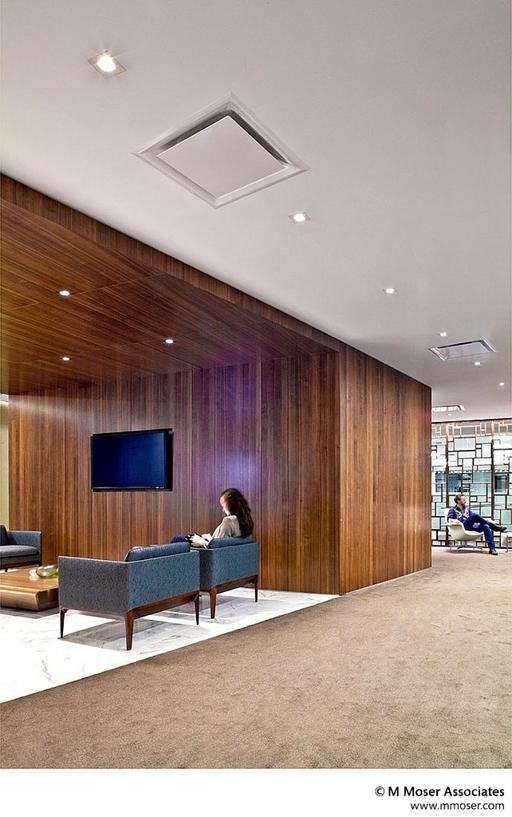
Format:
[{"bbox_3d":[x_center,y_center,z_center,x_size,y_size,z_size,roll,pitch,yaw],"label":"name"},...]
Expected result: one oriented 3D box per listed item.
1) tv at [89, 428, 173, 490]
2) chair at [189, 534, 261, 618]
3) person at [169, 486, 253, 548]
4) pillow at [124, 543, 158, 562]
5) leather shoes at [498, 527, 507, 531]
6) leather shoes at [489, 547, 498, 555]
[{"bbox_3d":[-1.569,0.655,6.860,1.485,0.773,0.076,-7,-8,36],"label":"tv"},{"bbox_3d":[-0.270,1.286,4.956,0.482,0.712,0.904,-3,-10,24],"label":"chair"},{"bbox_3d":[-0.489,1.205,5.472,0.881,0.753,0.439,-8,-25,23],"label":"person"},{"bbox_3d":[-0.802,1.021,3.891,0.168,0.073,0.393,-2,-7,0],"label":"pillow"},{"bbox_3d":[5.251,2.575,11.732,0.187,0.088,0.201,-11,-6,22],"label":"leather shoes"},{"bbox_3d":[4.696,2.835,10.845,0.097,0.136,0.318,0,-2,18],"label":"leather shoes"}]
